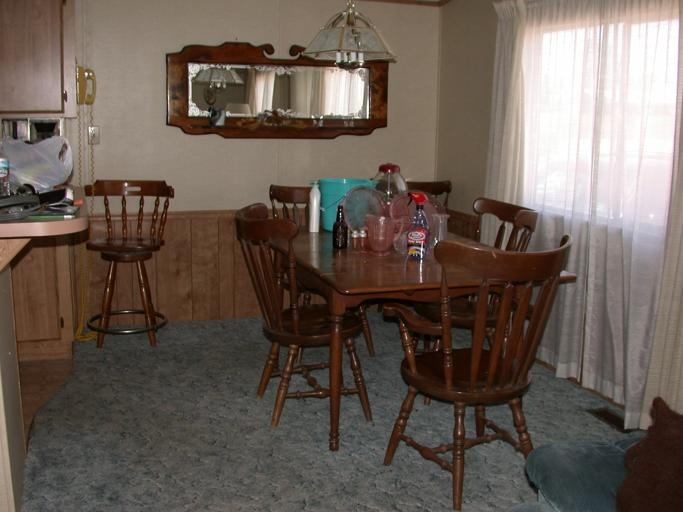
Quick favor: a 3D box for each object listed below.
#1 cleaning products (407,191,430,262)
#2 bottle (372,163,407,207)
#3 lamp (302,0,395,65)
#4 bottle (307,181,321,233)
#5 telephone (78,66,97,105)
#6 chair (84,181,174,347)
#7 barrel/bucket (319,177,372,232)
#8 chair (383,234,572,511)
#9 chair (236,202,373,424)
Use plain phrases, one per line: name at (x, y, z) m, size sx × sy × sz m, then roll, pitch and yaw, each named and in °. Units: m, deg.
cleaning products at (0.377, -0.157, 2.807) m, size 0.129 × 0.354 × 0.088 m, roll 4°, pitch 31°, yaw 8°
bottle at (0.311, -0.450, 3.673) m, size 0.229 × 0.312 × 0.236 m, roll 3°, pitch 21°, yaw -1°
lamp at (0.064, -1.218, 3.006) m, size 0.433 × 0.340 × 0.441 m, roll 9°, pitch 15°, yaw 30°
bottle at (-0.169, -0.308, 3.531) m, size 0.071 × 0.316 × 0.068 m, roll 6°, pitch 5°, yaw -1°
telephone at (-1.836, -1.215, 3.943) m, size 0.133 × 0.257 × 0.184 m, roll 2°, pitch 12°, yaw 6°
chair at (-1.548, 0.059, 4.062) m, size 0.638 × 1.189 × 0.633 m, roll 0°, pitch 6°, yaw -24°
barrel/bucket at (0.011, -0.340, 3.539) m, size 0.323 × 0.298 × 0.338 m, roll 3°, pitch 7°, yaw 0°
chair at (0.603, 0.439, 2.519) m, size 0.687 × 1.150 × 0.840 m, roll 12°, pitch 16°, yaw 40°
chair at (-0.198, 0.302, 3.046) m, size 0.748 × 1.034 × 0.722 m, roll -6°, pitch 8°, yaw -41°
